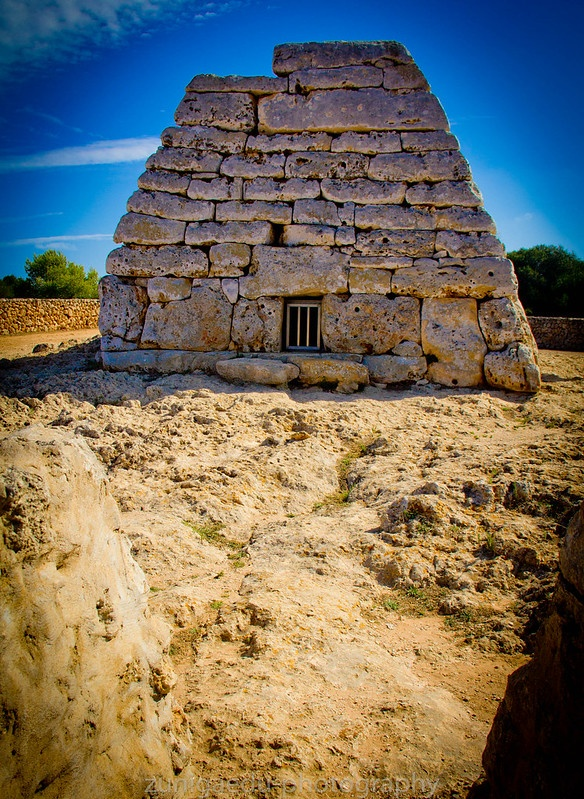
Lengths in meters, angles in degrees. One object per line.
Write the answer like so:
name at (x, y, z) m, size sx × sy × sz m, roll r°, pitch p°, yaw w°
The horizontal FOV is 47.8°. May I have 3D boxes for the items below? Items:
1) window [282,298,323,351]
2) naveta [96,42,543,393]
window at (0.105, -0.852, 7.611) m, size 0.572 × 0.791 × 0.079 m, roll 2°, pitch 1°, yaw -25°
naveta at (0.404, -2.082, 8.468) m, size 4.953 × 3.741 × 3.029 m, roll 5°, pitch 5°, yaw 9°
